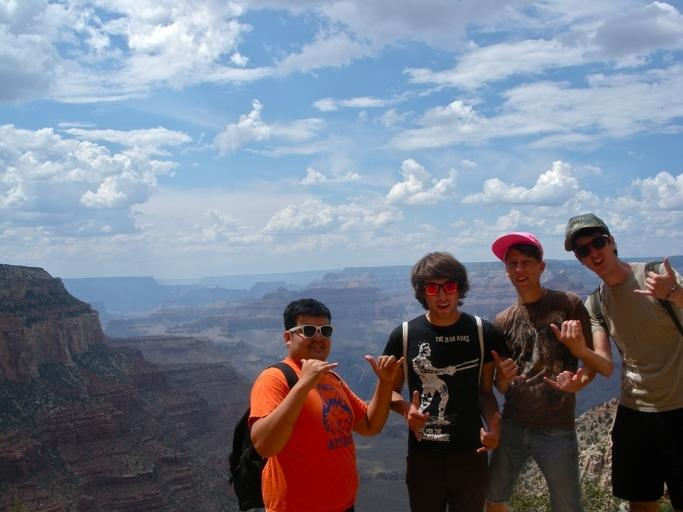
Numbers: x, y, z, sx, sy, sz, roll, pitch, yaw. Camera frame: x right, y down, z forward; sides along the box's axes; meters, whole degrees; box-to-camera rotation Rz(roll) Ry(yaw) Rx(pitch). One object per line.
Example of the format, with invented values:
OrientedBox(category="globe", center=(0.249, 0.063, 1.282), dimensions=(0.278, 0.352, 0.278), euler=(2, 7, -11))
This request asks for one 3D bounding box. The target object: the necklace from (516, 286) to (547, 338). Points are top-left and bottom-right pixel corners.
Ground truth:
OrientedBox(category="necklace", center=(2.151, 0.630, 5.666), dimensions=(0.454, 0.463, 0.256), euler=(-13, -21, 39))

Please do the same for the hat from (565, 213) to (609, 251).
OrientedBox(category="hat", center=(2.614, -0.228, 5.321), dimensions=(0.556, 0.286, 0.416), euler=(-1, -27, -48))
